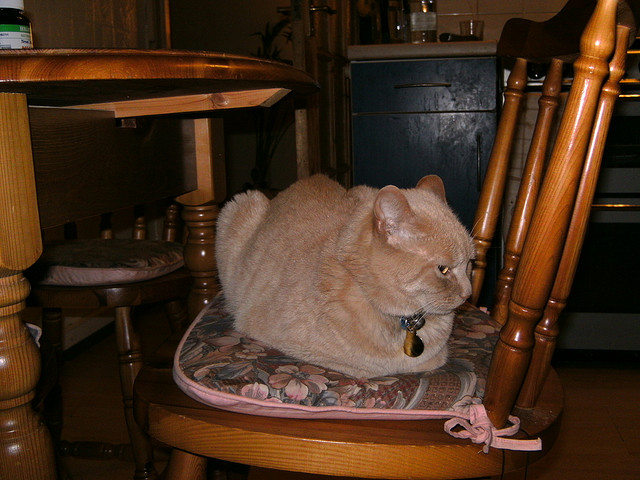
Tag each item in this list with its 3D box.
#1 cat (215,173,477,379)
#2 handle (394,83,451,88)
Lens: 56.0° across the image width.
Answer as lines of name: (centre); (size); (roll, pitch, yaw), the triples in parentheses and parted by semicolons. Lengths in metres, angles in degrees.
cat: (0.003, 0.030, 1.259); (0.339, 0.270, 0.547); (-5, 22, -30)
handle: (0.457, -0.666, 2.603); (0.181, 0.019, 0.024); (1, 24, 13)
